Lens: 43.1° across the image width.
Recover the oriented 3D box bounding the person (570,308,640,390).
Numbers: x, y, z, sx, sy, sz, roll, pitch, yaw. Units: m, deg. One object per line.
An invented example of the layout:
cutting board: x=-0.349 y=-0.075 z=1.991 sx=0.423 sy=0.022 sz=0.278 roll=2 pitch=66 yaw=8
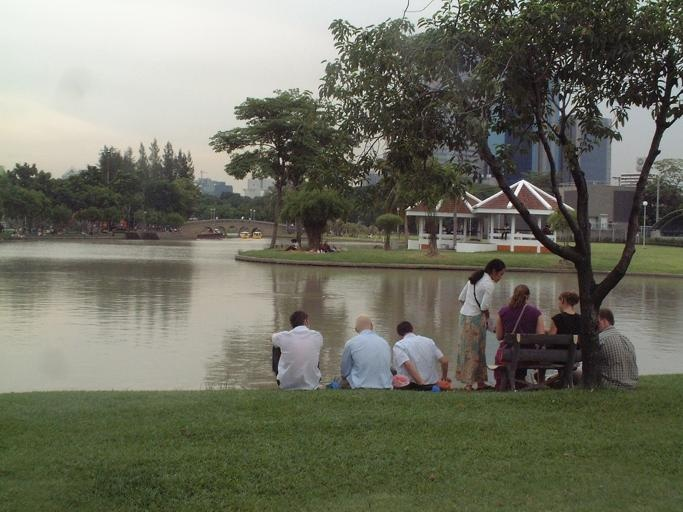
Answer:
person: x=4.244 y=1.543 z=14.172 sx=1.169 sy=1.465 sz=0.912 roll=-4 pitch=-15 yaw=44

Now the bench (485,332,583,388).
bench: x=3.124 y=1.736 z=13.857 sx=1.362 sy=0.984 sz=0.895 roll=3 pitch=-7 yaw=-11

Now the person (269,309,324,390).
person: x=-0.701 y=1.468 z=13.911 sx=0.698 sy=1.367 sz=1.147 roll=2 pitch=7 yaw=-2

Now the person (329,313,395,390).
person: x=0.293 y=1.421 z=13.583 sx=0.920 sy=1.286 sz=0.975 roll=1 pitch=7 yaw=-3
